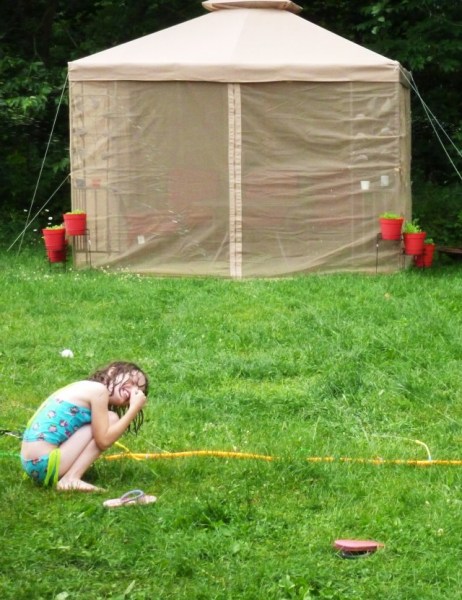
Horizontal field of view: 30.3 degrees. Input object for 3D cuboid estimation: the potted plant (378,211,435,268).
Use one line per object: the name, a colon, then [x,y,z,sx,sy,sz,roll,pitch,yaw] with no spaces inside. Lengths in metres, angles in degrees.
potted plant: [2.059,-0.686,9.949,0.535,0.694,0.858,8,14,34]

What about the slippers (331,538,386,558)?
slippers: [0.496,0.944,3.276,0.183,0.039,0.104,-3,12,-12]

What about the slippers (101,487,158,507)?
slippers: [-0.430,0.842,3.618,0.191,0.039,0.075,-4,16,-23]
